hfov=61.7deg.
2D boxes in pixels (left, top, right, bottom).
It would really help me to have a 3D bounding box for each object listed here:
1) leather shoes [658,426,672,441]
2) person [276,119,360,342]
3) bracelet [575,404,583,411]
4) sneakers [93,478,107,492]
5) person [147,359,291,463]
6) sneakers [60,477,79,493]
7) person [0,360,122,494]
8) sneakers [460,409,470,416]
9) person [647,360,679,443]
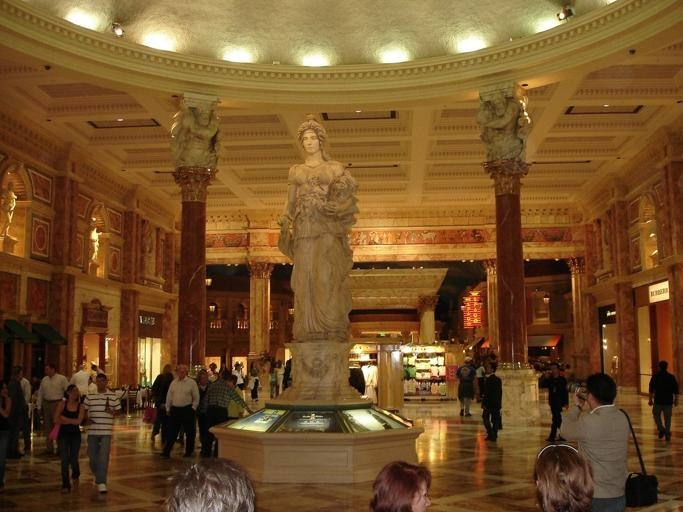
[{"bbox_3d":[5.859,3.219,10.310,0.123,0.217,0.337,-3,-39,20],"label":"leather shoes"},{"bbox_3d":[-0.322,-0.420,8.235,1.106,3.258,0.836,1,-18,0],"label":"person"},{"bbox_3d":[1.538,0.972,3.693,0.056,0.037,0.053,0,-11,0],"label":"bracelet"},{"bbox_3d":[-2.893,2.747,6.854,0.109,0.102,0.296,7,-10,-38],"label":"sneakers"},{"bbox_3d":[-2.335,2.604,9.547,1.218,1.425,0.814,5,-18,-13],"label":"person"},{"bbox_3d":[-3.388,2.866,7.116,0.123,0.139,0.346,2,-16,-7],"label":"sneakers"},{"bbox_3d":[-3.146,2.161,7.102,0.911,1.409,0.485,-6,-19,21],"label":"person"},{"bbox_3d":[3.347,4.210,15.406,0.285,0.247,0.130,0,-4,12],"label":"sneakers"},{"bbox_3d":[5.952,2.647,10.432,0.460,1.367,0.725,-6,-19,21],"label":"person"}]
